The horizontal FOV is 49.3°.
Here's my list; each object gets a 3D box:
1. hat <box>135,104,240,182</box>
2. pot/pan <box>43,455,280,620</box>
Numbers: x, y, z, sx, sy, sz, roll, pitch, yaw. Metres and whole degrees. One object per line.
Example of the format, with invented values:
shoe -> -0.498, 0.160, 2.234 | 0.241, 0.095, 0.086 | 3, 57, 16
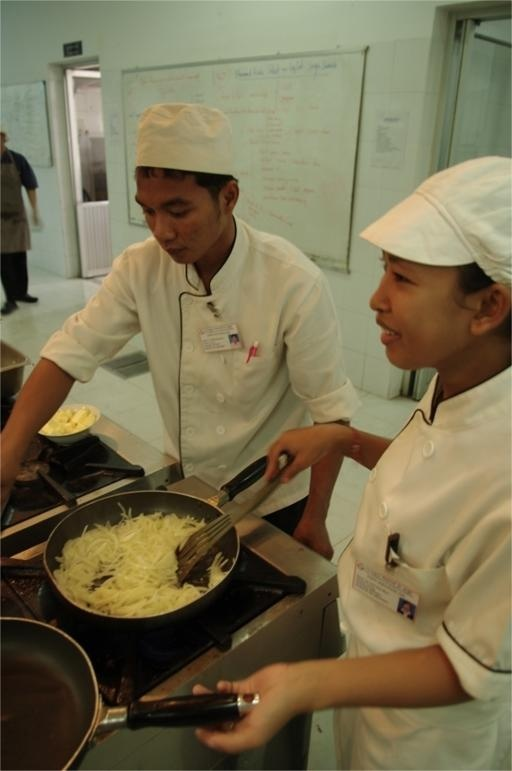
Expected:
hat -> -0.121, -0.420, 0.964 | 0.164, 0.104, 0.160 | 7, 26, 8
pot/pan -> -0.173, 0.255, 0.925 | 0.329, 0.048, 0.195 | -16, 24, -41
